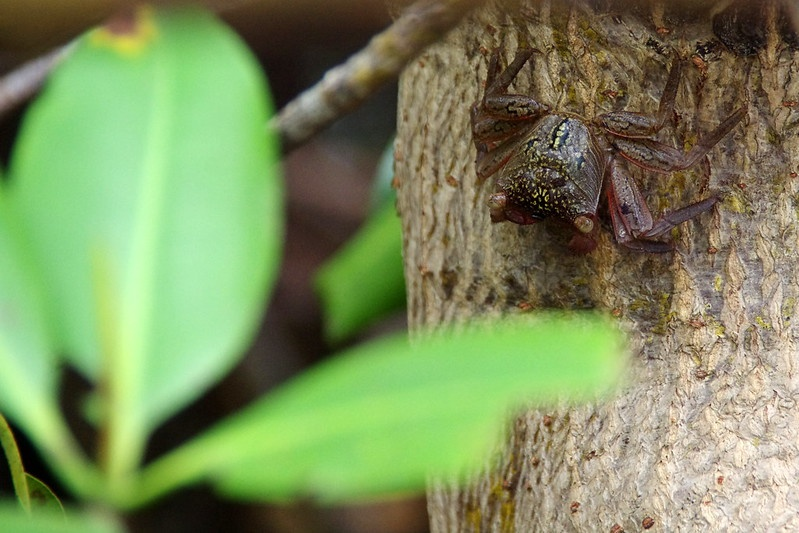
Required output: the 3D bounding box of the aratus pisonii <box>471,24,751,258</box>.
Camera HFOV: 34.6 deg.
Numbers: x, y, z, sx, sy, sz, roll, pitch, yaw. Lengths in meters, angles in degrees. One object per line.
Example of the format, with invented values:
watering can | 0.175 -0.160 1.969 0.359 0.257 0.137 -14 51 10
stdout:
aratus pisonii | 0.346 -0.200 2.480 0.491 0.396 0.162 13 -1 26
